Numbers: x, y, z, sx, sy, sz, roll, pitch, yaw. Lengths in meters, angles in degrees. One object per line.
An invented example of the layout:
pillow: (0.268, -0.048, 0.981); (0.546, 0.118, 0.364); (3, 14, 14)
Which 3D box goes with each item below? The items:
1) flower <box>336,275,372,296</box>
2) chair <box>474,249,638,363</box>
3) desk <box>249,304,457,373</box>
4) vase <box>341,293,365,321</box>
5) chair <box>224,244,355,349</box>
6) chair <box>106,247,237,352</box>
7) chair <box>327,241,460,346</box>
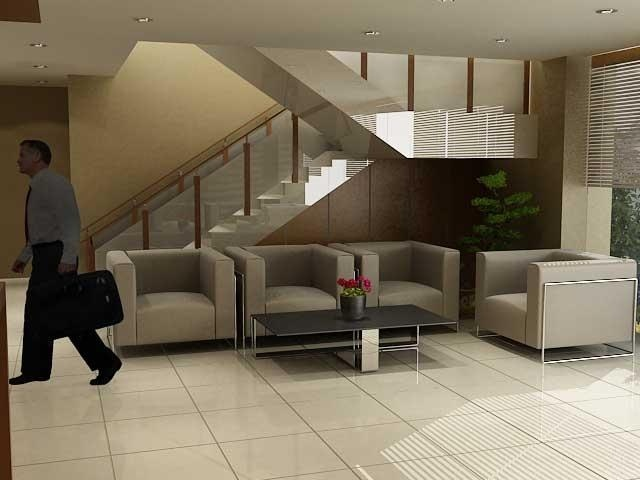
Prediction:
flower: (0.369, 0.533, 5.583); (0.297, 0.150, 0.275); (-1, -2, 43)
chair: (2.880, 0.739, 6.119); (1.442, 1.103, 1.253); (-2, 7, -17)
desk: (0.274, 1.098, 5.676); (2.039, 0.566, 1.266); (-1, 6, -12)
vase: (0.370, 0.728, 5.384); (0.260, 0.241, 0.272); (0, -3, -4)
chair: (-0.525, 0.792, 6.675); (1.387, 1.083, 1.288); (-1, 3, -18)
chair: (-1.830, 0.807, 6.305); (1.429, 1.091, 1.313); (0, 2, -20)
chair: (1.098, 0.615, 6.975); (1.425, 1.126, 1.365); (-1, 4, -20)
